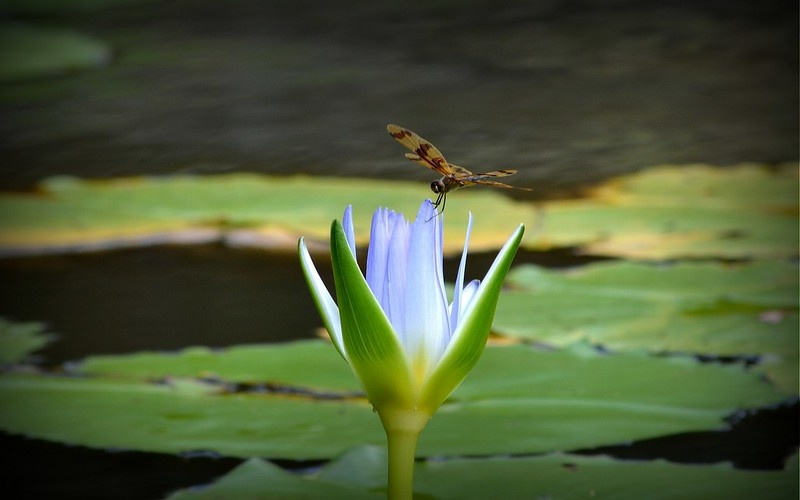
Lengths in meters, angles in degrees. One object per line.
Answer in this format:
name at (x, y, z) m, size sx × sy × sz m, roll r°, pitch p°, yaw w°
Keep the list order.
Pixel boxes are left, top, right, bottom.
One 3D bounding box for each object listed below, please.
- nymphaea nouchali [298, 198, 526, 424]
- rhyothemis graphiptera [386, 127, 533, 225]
nymphaea nouchali at (0.017, 0.079, 1.093) m, size 0.241 × 0.277 × 0.207 m, roll -5°, pitch 2°, yaw 0°
rhyothemis graphiptera at (0.078, -0.101, 1.139) m, size 0.159 × 0.152 × 0.149 m, roll -16°, pitch 16°, yaw -16°
